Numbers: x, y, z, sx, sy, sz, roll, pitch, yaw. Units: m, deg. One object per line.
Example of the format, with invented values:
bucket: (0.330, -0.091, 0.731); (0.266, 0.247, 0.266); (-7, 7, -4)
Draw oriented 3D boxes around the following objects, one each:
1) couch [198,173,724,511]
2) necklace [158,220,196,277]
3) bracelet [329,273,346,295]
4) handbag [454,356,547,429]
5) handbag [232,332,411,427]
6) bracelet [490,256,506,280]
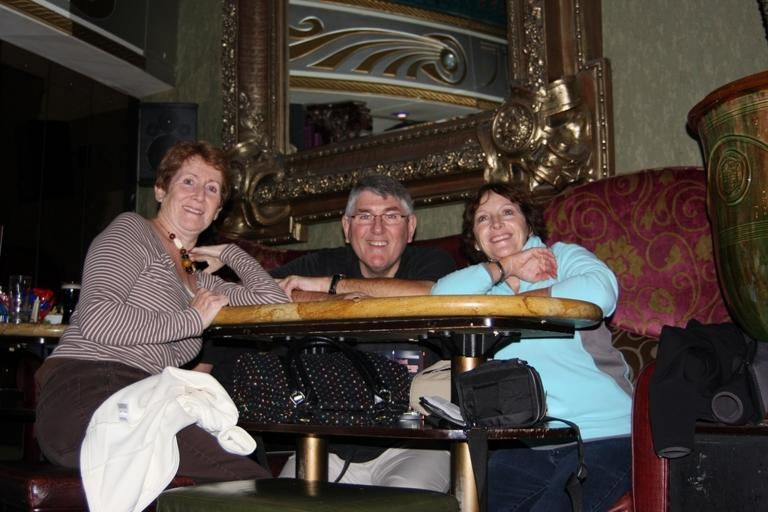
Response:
couch: (0.469, 0.344, 3.149); (1.270, 1.680, 1.474); (-12, -21, 43)
necklace: (-0.858, -0.039, 2.956); (0.048, 0.239, 0.081); (-40, -18, 14)
bracelet: (-0.227, 0.123, 3.291); (0.054, 0.086, 0.087); (5, 43, 31)
handbag: (0.361, 0.427, 2.193); (0.264, 0.192, 0.196); (-8, 19, -6)
handbag: (-0.220, 0.433, 2.460); (0.447, 0.191, 0.340); (3, -7, -8)
bracelet: (0.432, 0.048, 2.695); (0.016, 0.063, 0.065); (-23, -43, -9)
